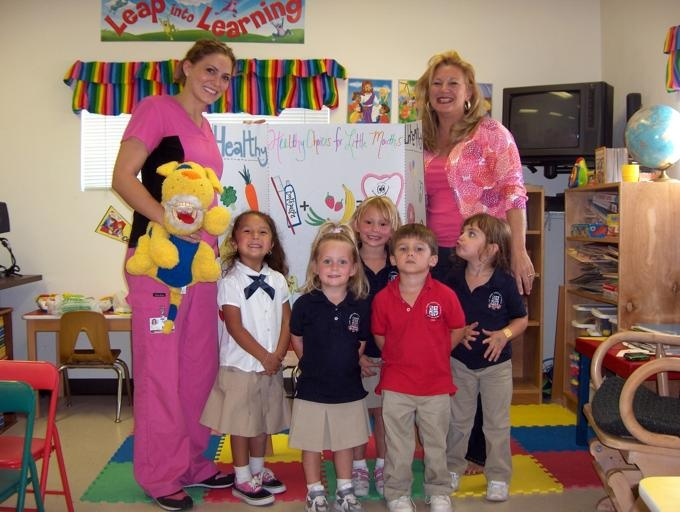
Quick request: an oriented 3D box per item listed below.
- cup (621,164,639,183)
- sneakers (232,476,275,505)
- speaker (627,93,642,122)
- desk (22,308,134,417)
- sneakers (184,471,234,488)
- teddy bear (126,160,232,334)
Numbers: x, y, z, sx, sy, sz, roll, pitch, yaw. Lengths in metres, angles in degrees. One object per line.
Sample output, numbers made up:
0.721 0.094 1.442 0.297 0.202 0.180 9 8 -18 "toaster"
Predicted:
1.885 -0.523 3.598 0.125 0.130 0.132 -1 2 0 "cup"
-0.460 1.212 2.893 0.218 0.101 0.103 5 1 29 "sneakers"
2.176 -1.109 4.076 0.208 0.183 0.090 -8 9 -41 "speaker"
-1.920 0.694 4.413 0.896 1.010 0.751 0 -4 -3 "desk"
-0.722 1.220 3.038 0.269 0.124 0.103 -1 -2 -4 "sneakers"
-0.800 -0.029 2.654 0.435 0.825 0.295 4 9 -26 "teddy bear"
